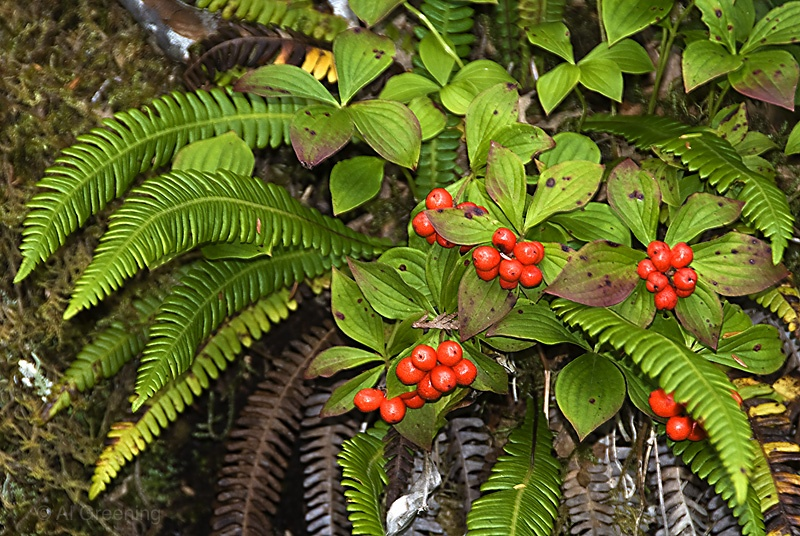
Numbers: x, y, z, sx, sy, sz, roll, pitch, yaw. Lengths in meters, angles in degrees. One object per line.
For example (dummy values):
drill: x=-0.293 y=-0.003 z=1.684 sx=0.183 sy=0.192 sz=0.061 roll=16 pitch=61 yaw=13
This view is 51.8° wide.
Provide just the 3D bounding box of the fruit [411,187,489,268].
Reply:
fruit: x=0.205 y=-0.171 z=3.520 sx=0.276 sy=0.286 sz=0.114 roll=33 pitch=14 yaw=-15

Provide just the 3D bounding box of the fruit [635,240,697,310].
fruit: x=1.091 y=0.021 z=3.369 sx=0.246 sy=0.274 sz=0.103 roll=23 pitch=10 yaw=18

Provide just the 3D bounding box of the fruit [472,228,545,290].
fruit: x=0.450 y=-0.023 z=3.386 sx=0.254 sy=0.254 sz=0.101 roll=46 pitch=-11 yaw=4
